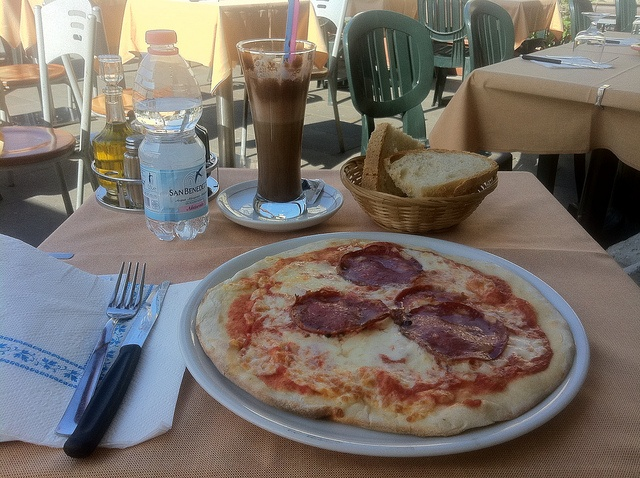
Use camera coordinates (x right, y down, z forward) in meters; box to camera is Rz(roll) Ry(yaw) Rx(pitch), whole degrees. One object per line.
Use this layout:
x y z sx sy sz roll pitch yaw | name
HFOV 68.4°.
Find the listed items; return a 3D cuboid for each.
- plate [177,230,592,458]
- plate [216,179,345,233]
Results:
0.076 0.105 0.722 0.523 0.060 0.549 0 19 3 | plate
-0.081 -0.057 0.910 0.144 0.031 0.141 -8 31 -18 | plate
